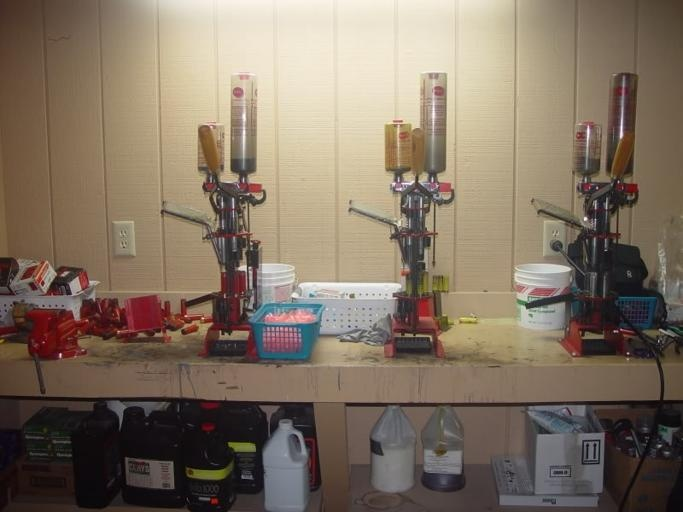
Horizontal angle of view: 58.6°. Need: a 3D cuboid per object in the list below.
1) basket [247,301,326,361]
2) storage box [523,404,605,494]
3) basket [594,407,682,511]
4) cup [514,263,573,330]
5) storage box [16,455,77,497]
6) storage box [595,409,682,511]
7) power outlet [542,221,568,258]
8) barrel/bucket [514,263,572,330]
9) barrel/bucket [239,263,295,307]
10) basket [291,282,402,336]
[{"bbox_3d":[-0.259,0.334,2.709,0.315,0.140,0.360,-1,7,-9],"label":"basket"},{"bbox_3d":[1.037,0.899,2.872,0.300,0.234,0.408,-1,2,8],"label":"storage box"},{"bbox_3d":[1.312,0.816,2.816,0.328,0.366,0.568,2,5,6],"label":"basket"},{"bbox_3d":[0.986,0.198,3.030,0.326,0.305,0.316,-2,10,0],"label":"cup"},{"bbox_3d":[-1.358,1.027,2.813,0.265,0.124,0.174,2,1,2],"label":"storage box"},{"bbox_3d":[1.269,0.920,2.779,0.327,0.377,0.573,2,6,5],"label":"storage box"},{"bbox_3d":[1.063,-0.089,3.045,0.121,0.182,0.044,0,7,11],"label":"power outlet"},{"bbox_3d":[1.004,0.203,2.995,0.298,0.286,0.288,0,0,0],"label":"barrel/bucket"},{"bbox_3d":[-0.380,0.121,2.974,0.219,0.192,0.217,1,8,0],"label":"barrel/bucket"},{"bbox_3d":[0.033,0.251,2.944,0.433,0.138,0.260,1,-1,4],"label":"basket"}]
